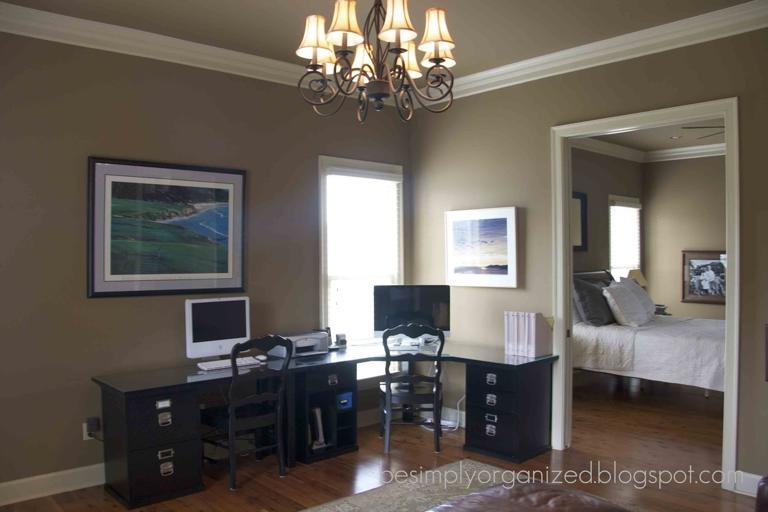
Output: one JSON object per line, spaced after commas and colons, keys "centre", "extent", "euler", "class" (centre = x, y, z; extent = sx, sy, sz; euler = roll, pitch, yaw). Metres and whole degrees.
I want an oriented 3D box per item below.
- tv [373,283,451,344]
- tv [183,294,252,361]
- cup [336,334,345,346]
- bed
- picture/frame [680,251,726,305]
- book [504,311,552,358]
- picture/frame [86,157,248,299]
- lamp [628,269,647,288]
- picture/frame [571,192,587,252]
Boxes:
{"centre": [0.289, 0.588, 5.736], "extent": [0.640, 0.435, 0.185], "euler": [0, -4, -1], "class": "tv"}
{"centre": [-1.525, 0.649, 5.052], "extent": [0.625, 0.602, 0.222], "euler": [0, -5, -35], "class": "tv"}
{"centre": [-0.441, 0.857, 5.709], "extent": [0.110, 0.110, 0.082], "euler": [-1, 4, -27], "class": "cup"}
{"centre": [3.168, 1.040, 6.811], "extent": [1.629, 0.965, 1.729], "euler": [-2, 0, 33], "class": "bed"}
{"centre": [4.990, 0.345, 8.661], "extent": [0.058, 0.841, 0.858], "euler": [5, -5, -41], "class": "picture/frame"}
{"centre": [1.379, 0.690, 5.573], "extent": [0.395, 0.503, 0.533], "euler": [-3, 3, -40], "class": "book"}
{"centre": [-2.018, -0.254, 5.020], "extent": [1.372, 1.179, 0.091], "euler": [1, -1, -33], "class": "picture/frame"}
{"centre": [3.885, 0.338, 8.500], "extent": [0.314, 0.285, 0.308], "euler": [-2, -10, 7], "class": "lamp"}
{"centre": [2.674, -0.475, 7.662], "extent": [0.068, 0.928, 0.906], "euler": [0, 0, 36], "class": "picture/frame"}
